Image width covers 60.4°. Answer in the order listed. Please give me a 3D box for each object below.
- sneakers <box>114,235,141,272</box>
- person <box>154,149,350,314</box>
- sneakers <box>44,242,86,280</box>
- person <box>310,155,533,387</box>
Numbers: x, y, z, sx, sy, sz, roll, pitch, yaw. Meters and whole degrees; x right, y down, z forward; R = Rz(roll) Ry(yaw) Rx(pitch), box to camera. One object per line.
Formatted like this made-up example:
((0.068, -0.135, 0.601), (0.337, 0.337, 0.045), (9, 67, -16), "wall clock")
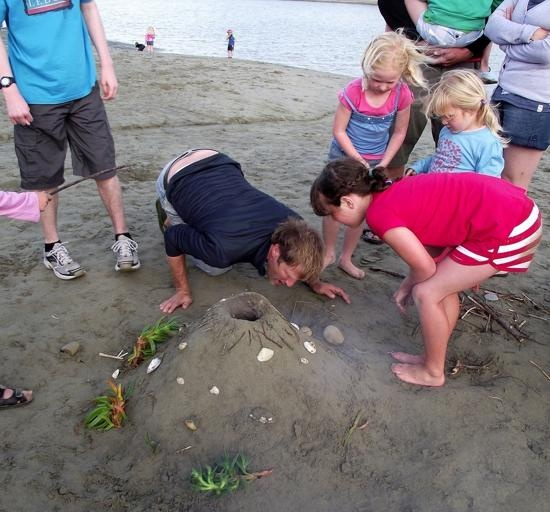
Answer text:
((-1.120, -0.015, 3.600), (0.169, 0.142, 0.345), (-8, 29, -12), "sneakers")
((-0.372, -0.177, 3.193), (0.970, 0.551, 1.313), (-38, 77, -26), "person")
((-1.563, 0.015, 3.522), (0.435, 0.182, 0.175), (27, 49, 34), "sneakers")
((0.806, 0.061, 2.720), (0.662, 1.177, 1.011), (-30, 50, -35), "person")
